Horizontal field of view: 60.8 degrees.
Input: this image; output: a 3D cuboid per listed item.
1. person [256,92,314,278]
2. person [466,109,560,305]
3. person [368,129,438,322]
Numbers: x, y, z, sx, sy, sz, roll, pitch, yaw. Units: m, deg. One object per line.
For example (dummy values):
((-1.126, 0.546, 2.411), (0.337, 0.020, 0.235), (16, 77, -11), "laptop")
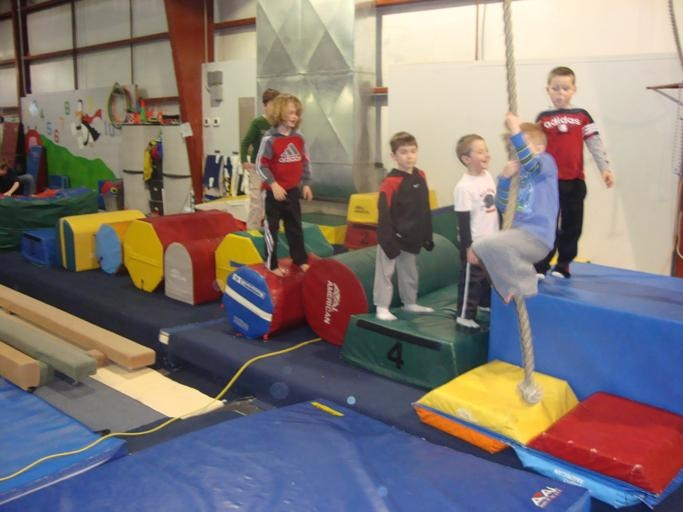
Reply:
((-0.418, -0.537, 4.298), (0.406, 1.277, 0.345), (-4, 10, -14), "person")
((0.949, -0.229, 3.159), (0.396, 1.038, 0.627), (3, 10, 22), "person")
((0.387, -0.215, 3.885), (0.447, 1.200, 0.280), (-6, 10, -25), "person")
